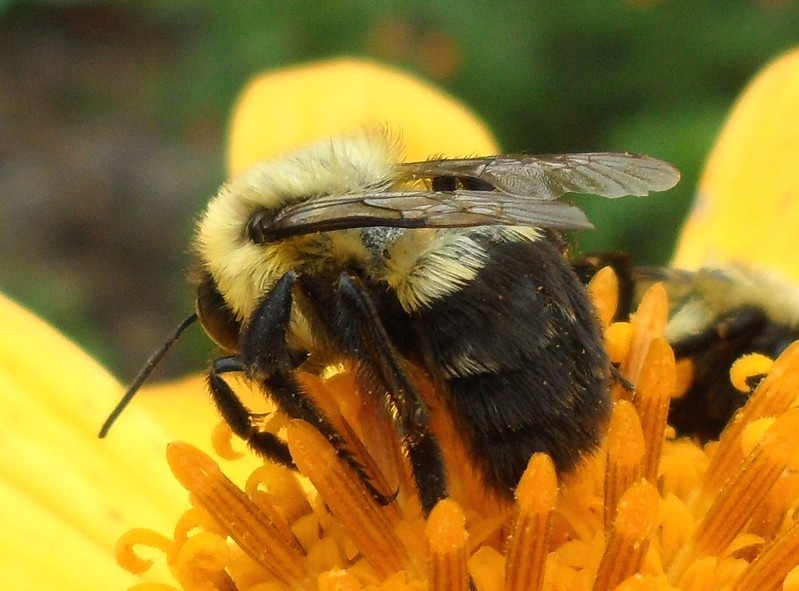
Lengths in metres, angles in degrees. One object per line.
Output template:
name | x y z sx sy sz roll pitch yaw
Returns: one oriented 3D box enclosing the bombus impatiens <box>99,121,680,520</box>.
bombus impatiens | -0.019 0.002 2.331 0.954 0.540 0.603 3 22 43
